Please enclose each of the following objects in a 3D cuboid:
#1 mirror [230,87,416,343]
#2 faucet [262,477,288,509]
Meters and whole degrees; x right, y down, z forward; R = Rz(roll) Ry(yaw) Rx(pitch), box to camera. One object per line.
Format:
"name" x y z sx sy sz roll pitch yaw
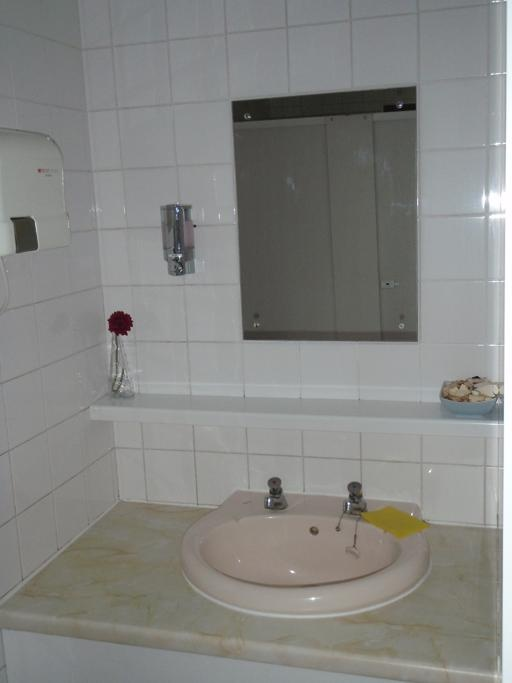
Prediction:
"mirror" 0.185 -0.290 1.479 0.455 0.605 0.015 -1 -5 1
"faucet" 0.049 0.375 1.433 0.067 0.081 0.071 0 18 6
